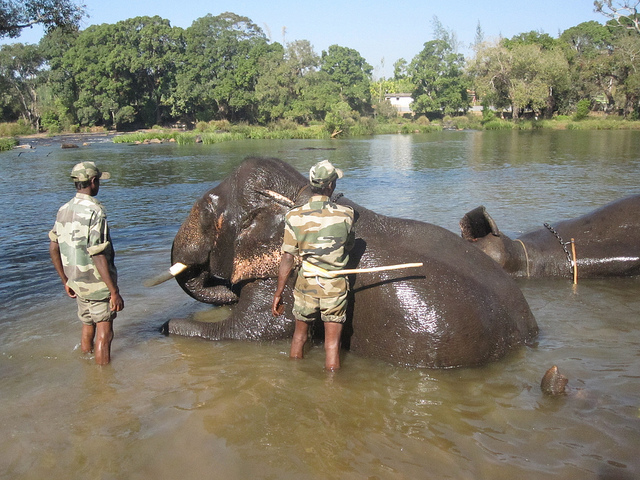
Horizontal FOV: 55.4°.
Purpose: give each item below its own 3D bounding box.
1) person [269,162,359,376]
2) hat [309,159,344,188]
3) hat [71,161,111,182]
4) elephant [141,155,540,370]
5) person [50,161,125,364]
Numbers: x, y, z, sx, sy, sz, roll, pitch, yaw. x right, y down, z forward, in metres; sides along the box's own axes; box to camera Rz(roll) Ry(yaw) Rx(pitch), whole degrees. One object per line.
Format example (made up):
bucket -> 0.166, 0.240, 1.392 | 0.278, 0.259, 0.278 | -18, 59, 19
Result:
person -> -0.070, 0.293, 6.726 | 0.942, 2.278, 0.759 | -2, 13, 2
hat -> 0.053, -0.720, 6.587 | 0.303, 0.265, 0.374 | 0, 13, 13
hat -> -2.609, -0.777, 7.055 | 0.438, 0.220, 0.260 | -15, 18, -41
elephant -> 0.138, 0.123, 7.783 | 4.809, 1.904, 2.325 | 8, 12, 21
person -> -2.618, 0.270, 6.994 | 0.761, 2.275, 0.536 | 9, 18, 42
